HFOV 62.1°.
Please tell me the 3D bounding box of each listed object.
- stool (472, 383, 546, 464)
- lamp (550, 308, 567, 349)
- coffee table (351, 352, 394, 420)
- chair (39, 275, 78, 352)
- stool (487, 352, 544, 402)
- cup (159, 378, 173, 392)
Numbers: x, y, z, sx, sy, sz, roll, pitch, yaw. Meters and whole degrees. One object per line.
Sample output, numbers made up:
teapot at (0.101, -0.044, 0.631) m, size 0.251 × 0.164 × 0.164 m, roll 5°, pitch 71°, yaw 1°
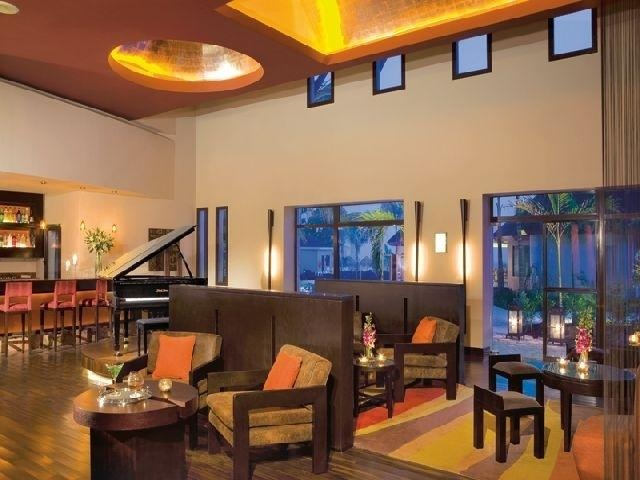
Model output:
stool at (2.225, 1.984, 6.076) m, size 0.680 × 0.978 × 0.851 m, roll 0°, pitch -1°, yaw -21°
lamp at (4.397, 1.612, 9.887) m, size 0.284 × 0.673 × 0.094 m, roll 2°, pitch 5°, yaw 25°
coffee table at (0.756, 2.086, 7.734) m, size 0.665 × 0.809 × 0.699 m, roll 0°, pitch -7°, yaw -9°
chair at (-5.637, 1.555, 11.505) m, size 0.756 × 1.381 × 2.086 m, roll -2°, pitch 5°, yaw -25°
stool at (2.671, 1.757, 7.079) m, size 0.513 × 0.748 × 0.735 m, roll -1°, pitch 1°, yaw -20°
cup at (-1.654, 1.564, 5.713) m, size 0.116 × 0.092 × 0.122 m, roll 1°, pitch -5°, yaw 0°
